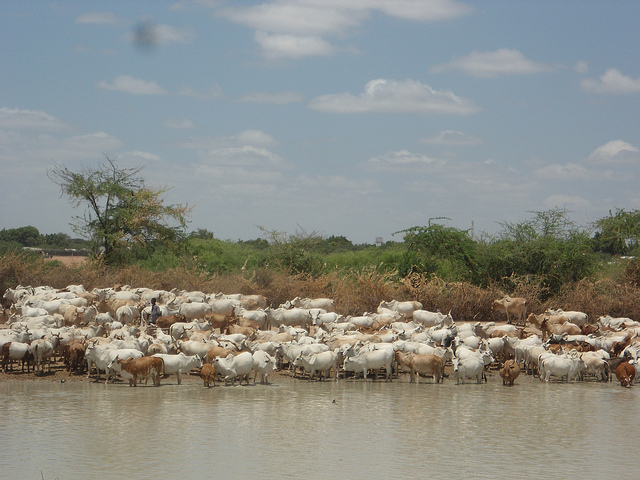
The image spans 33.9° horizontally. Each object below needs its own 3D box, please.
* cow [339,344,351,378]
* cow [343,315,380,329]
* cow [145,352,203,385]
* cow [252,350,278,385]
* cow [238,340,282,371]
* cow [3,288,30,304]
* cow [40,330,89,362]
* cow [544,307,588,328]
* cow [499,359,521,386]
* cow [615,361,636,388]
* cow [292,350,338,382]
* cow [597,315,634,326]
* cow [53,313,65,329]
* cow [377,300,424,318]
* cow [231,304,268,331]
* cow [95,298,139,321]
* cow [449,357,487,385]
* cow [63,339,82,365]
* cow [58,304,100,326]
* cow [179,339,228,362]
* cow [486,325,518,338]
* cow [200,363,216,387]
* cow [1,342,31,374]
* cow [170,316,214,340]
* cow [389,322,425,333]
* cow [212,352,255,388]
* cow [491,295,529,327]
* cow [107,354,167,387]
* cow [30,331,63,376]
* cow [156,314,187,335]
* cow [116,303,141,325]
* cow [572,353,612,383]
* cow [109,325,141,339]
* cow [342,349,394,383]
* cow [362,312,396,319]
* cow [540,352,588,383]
[{"bbox_3d":[0.883,4.408,38.614,0.628,1.155,0.388,0,4,-34],"label":"cow"},{"bbox_3d":[1.640,3.425,44.285,1.242,0.663,0.460,5,7,0],"label":"cow"},{"bbox_3d":[-5.032,4.460,37.099,1.963,1.069,0.564,0,-2,17],"label":"cow"},{"bbox_3d":[-1.995,4.525,37.459,0.795,1.146,0.937,0,-2,-4],"label":"cow"},{"bbox_3d":[-2.214,4.154,38.823,1.799,0.961,0.712,5,-5,-2],"label":"cow"},{"bbox_3d":[-13.866,2.541,48.053,1.409,0.840,0.570,1,4,1],"label":"cow"},{"bbox_3d":[-9.773,3.832,39.051,0.745,1.099,2.100,3,6,44],"label":"cow"},{"bbox_3d":[11.164,3.418,46.718,2.268,1.272,0.681,3,-4,8],"label":"cow"},{"bbox_3d":[6.828,4.755,37.912,0.757,0.846,0.479,2,-3,-44],"label":"cow"},{"bbox_3d":[11.006,4.846,38.003,0.613,0.837,0.744,-1,-3,29],"label":"cow"},{"bbox_3d":[-0.091,4.570,38.404,1.537,1.086,1.129,0,-2,6],"label":"cow"},{"bbox_3d":[13.244,3.600,47.093,1.432,0.539,0.751,4,-16,9],"label":"cow"},{"bbox_3d":[-10.391,3.185,42.045,0.498,0.685,0.671,0,-8,-14],"label":"cow"},{"bbox_3d":[3.624,3.099,47.027,2.085,1.122,0.726,1,17,7],"label":"cow"},{"bbox_3d":[-2.989,3.116,44.110,1.635,1.020,0.665,13,26,12],"label":"cow"},{"bbox_3d":[-8.417,2.936,44.780,2.064,1.075,0.695,2,1,7],"label":"cow"},{"bbox_3d":[5.429,4.702,38.189,1.099,0.949,1.425,0,-2,9],"label":"cow"},{"bbox_3d":[-9.013,4.043,38.373,0.493,0.850,0.952,1,-3,-25],"label":"cow"},{"bbox_3d":[-10.094,3.099,43.630,1.959,1.071,0.745,1,3,6],"label":"cow"},{"bbox_3d":[-4.104,3.980,37.896,1.959,1.064,0.656,1,3,4],"label":"cow"},{"bbox_3d":[7.354,3.665,42.655,1.403,0.748,0.460,-2,13,2],"label":"cow"},{"bbox_3d":[-3.859,4.693,36.564,0.406,0.778,0.499,2,-3,-44],"label":"cow"},{"bbox_3d":[-10.973,4.239,38.030,0.972,1.129,0.739,1,-3,-22],"label":"cow"},{"bbox_3d":[-5.049,3.515,41.159,1.514,0.617,0.863,1,-2,-19],"label":"cow"},{"bbox_3d":[3.508,3.510,42.674,1.330,0.468,0.752,-3,-36,3],"label":"cow"},{"bbox_3d":[-3.034,4.537,37.037,1.626,1.159,0.589,-2,-11,-24],"label":"cow"},{"bbox_3d":[8.632,3.179,48.102,0.563,1.222,1.959,5,-3,-44],"label":"cow"},{"bbox_3d":[-6.275,4.549,36.594,1.963,1.034,0.623,1,-4,-9],"label":"cow"},{"bbox_3d":[-10.055,4.147,38.728,0.632,1.312,1.911,4,1,13],"label":"cow"},{"bbox_3d":[-6.014,3.372,43.110,1.410,0.785,0.507,-6,8,-35],"label":"cow"},{"bbox_3d":[-7.934,3.093,43.496,0.618,0.758,1.016,-1,-3,26],"label":"cow"},{"bbox_3d":[10.015,4.770,39.268,0.625,1.028,1.837,-2,0,-39],"label":"cow"},{"bbox_3d":[-7.427,3.479,40.222,0.962,0.511,0.369,-5,20,-45],"label":"cow"},{"bbox_3d":[1.785,4.527,38.065,1.788,1.169,0.611,0,-2,2],"label":"cow"},{"bbox_3d":[2.561,3.249,45.372,1.229,0.449,0.642,4,-4,7],"label":"cow"},{"bbox_3d":[8.897,4.697,38.500,1.783,1.213,0.560,0,-6,-13],"label":"cow"}]
